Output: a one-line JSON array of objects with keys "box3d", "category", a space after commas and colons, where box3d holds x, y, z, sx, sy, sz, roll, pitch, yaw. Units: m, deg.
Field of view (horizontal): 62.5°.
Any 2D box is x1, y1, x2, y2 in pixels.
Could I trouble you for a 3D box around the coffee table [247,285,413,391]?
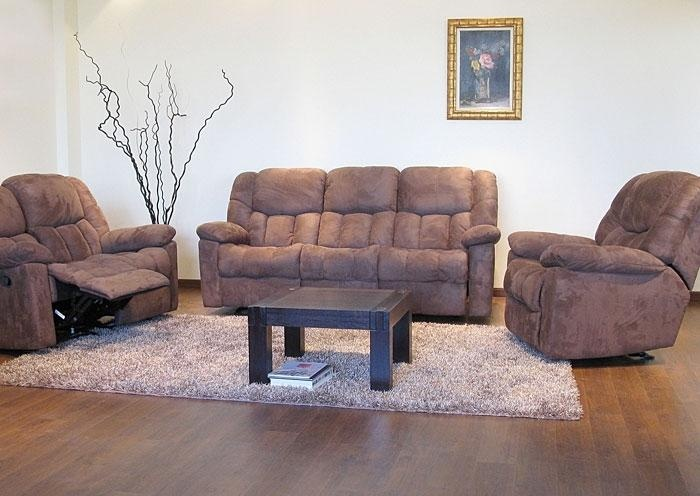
[{"box3d": [-0.103, 0.515, 3.579, 0.947, 0.462, 0.703, 2, 14, 10], "category": "coffee table"}]
